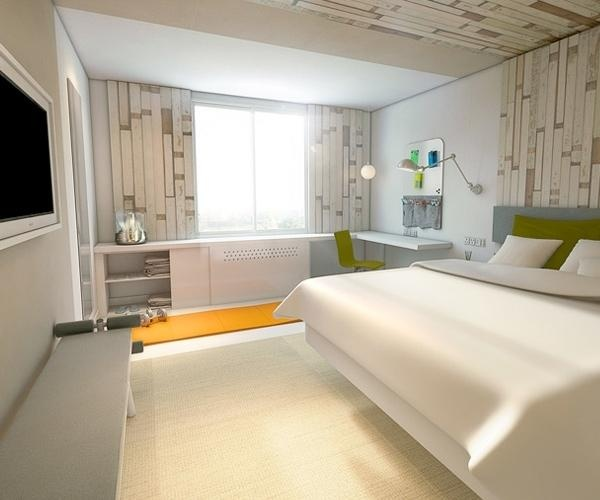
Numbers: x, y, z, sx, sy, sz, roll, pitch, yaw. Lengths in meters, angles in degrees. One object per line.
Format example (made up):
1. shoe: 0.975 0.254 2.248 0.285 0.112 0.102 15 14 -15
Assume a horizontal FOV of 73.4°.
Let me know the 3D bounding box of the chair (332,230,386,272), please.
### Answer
1. chair: 0.791 -0.016 5.210 0.600 0.736 0.456 -3 2 37

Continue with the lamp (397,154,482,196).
1. lamp: 1.643 -0.888 4.621 0.876 0.440 0.762 5 13 24
